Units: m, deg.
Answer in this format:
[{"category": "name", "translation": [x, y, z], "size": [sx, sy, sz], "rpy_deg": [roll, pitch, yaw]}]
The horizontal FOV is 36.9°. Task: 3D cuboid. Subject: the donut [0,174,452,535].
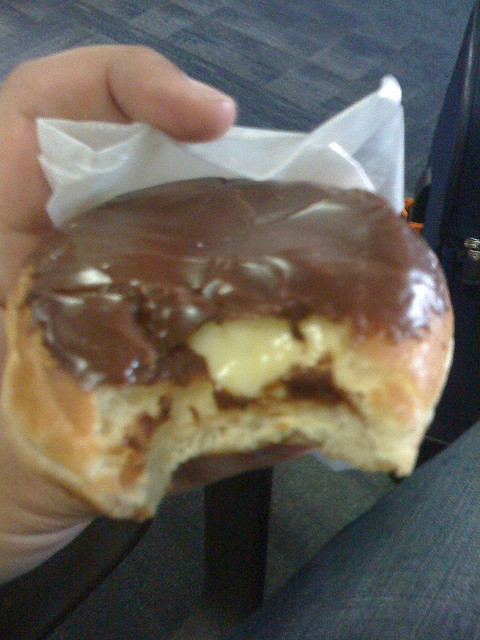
[{"category": "donut", "translation": [-0.016, 0.005, 0.418], "size": [0.262, 0.124, 0.193], "rpy_deg": [-5, 47, -4]}]
